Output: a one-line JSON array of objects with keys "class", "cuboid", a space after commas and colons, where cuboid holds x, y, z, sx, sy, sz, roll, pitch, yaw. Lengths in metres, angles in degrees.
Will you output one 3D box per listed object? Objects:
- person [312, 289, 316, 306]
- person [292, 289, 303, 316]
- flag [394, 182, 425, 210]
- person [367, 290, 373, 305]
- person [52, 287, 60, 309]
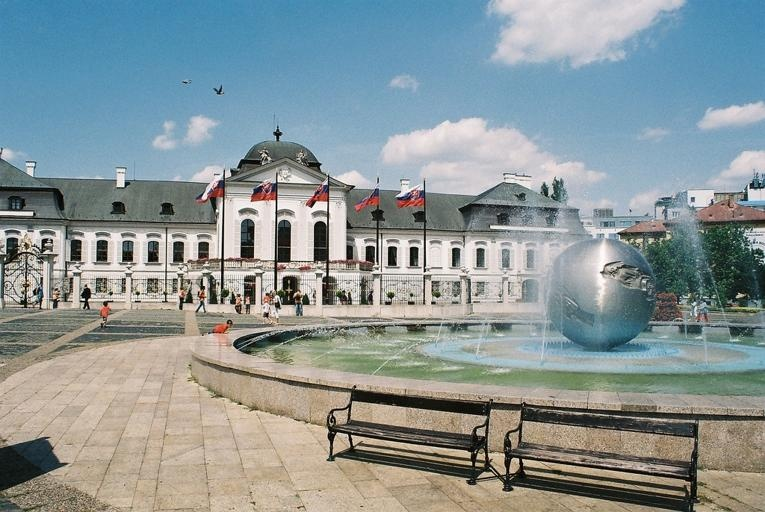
[{"class": "person", "cuboid": [-4.746, 2.665, 47.961, 0.232, 0.741, 0.803, 0, 2, -16]}, {"class": "person", "cuboid": [-4.767, 2.696, 39.822, 0.476, 1.331, 1.888, 0, 2, -7]}, {"class": "flag", "cuboid": [1.788, -3.908, 44.218, 1.450, 1.247, 1.790, 1, 2, 15]}, {"class": "person", "cuboid": [-0.840, 2.819, 46.830, 0.254, 0.593, 0.789, 0, 2, -8]}, {"class": "person", "cuboid": [-19.275, 2.461, 41.095, 0.314, 1.165, 0.881, -1, 2, -29]}]
